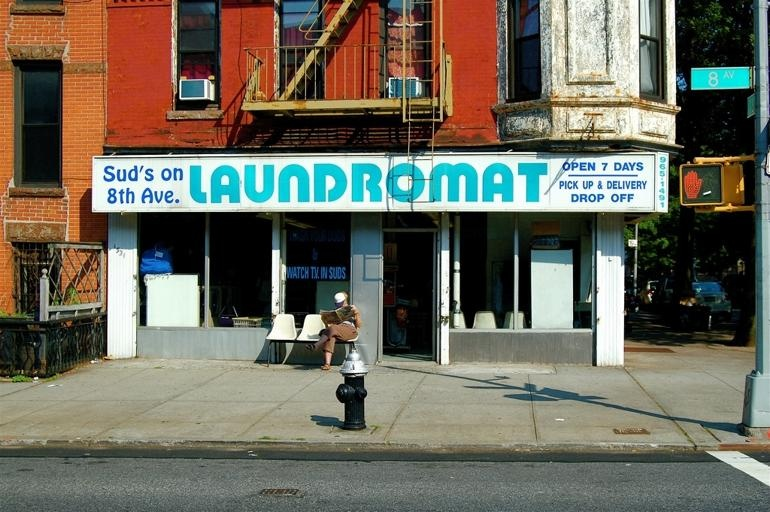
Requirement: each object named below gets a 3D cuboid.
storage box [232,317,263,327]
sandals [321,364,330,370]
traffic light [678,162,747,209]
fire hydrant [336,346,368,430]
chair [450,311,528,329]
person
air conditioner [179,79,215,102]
[{"bbox_3d":[-3.446,1.639,27.128,0.761,0.252,0.120,-1,-3,-3],"label":"storage box"},{"bbox_3d":[-1.439,2.651,26.076,0.200,0.152,0.324,-1,-3,-4],"label":"sandals"},{"bbox_3d":[6.638,-1.435,21.908,1.406,1.321,0.817,0,-1,7],"label":"traffic light"},{"bbox_3d":[-0.675,2.659,21.891,0.570,1.614,1.057,-1,-3,-1],"label":"fire hydrant"},{"bbox_3d":[2.562,1.550,26.686,1.750,0.419,0.368,-1,-3,13],"label":"chair"},{"bbox_3d":[-1.130,1.791,26.082,1.080,1.824,0.531,-1,-3,-5],"label":"person"},{"bbox_3d":[-4.723,-4.161,26.891,0.919,0.603,0.499,1,7,5],"label":"air conditioner"}]
